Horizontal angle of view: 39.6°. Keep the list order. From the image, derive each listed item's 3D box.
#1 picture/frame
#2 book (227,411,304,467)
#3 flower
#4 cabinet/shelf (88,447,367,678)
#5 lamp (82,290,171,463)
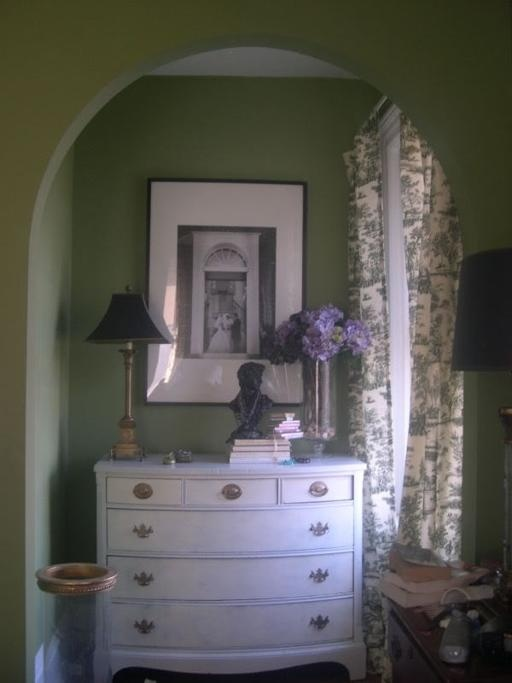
[{"bbox_3d":[-0.173,-0.203,3.316,1.082,1.483,0.025,1,-4,-4],"label":"picture/frame"},{"bbox_3d":[0.040,0.397,3.043,0.271,0.175,0.198,1,-9,-5],"label":"book"},{"bbox_3d":[0.201,0.145,3.330,0.497,0.704,0.572,1,-2,-12],"label":"flower"},{"bbox_3d":[-0.108,0.896,2.793,0.877,0.738,0.366,0,-3,-1],"label":"cabinet/shelf"},{"bbox_3d":[-0.560,0.127,3.122,0.337,0.733,0.408,1,-1,-7],"label":"lamp"}]
